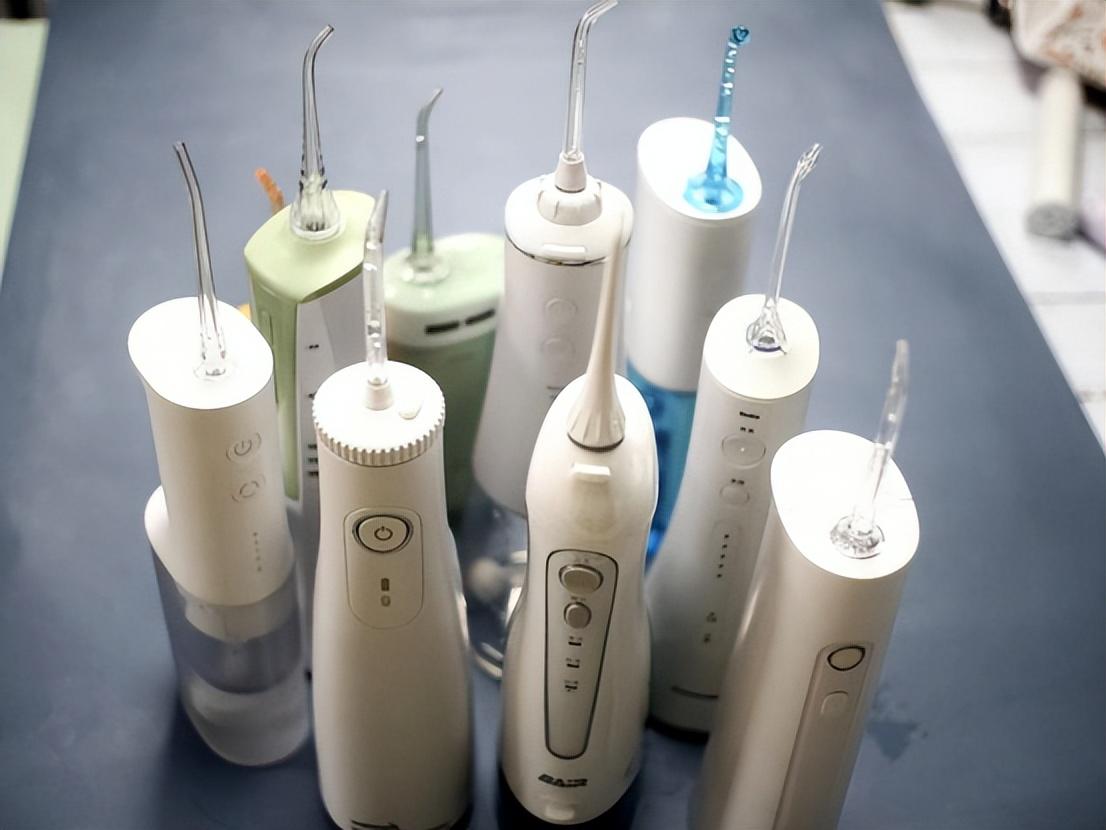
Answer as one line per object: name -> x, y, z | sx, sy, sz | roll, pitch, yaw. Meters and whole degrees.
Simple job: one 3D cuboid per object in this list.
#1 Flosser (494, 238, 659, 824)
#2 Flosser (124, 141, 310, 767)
Flosser -> 0.010, 0.072, 0.585 | 0.074, 0.307, 0.047 | -1, 24, -1
Flosser -> -0.171, 0.036, 0.619 | 0.075, 0.311, 0.061 | 15, 28, 31
